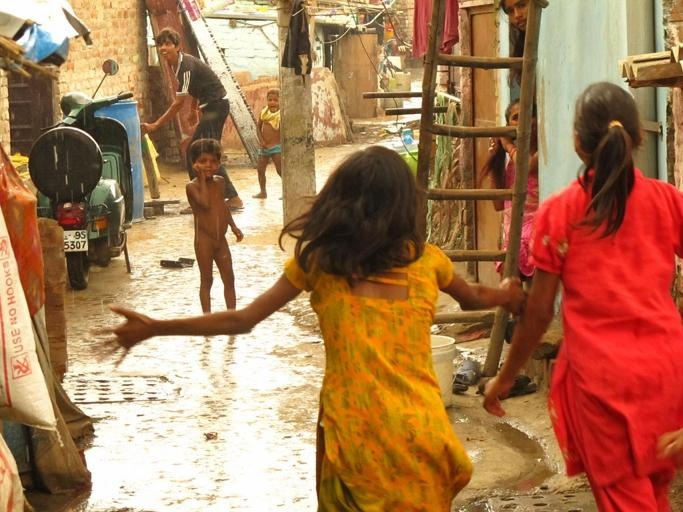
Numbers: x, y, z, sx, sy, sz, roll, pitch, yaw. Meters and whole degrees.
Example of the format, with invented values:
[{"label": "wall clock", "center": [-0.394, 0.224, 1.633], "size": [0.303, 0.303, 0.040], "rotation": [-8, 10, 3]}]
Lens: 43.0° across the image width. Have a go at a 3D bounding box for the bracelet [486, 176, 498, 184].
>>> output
[{"label": "bracelet", "center": [1.055, -0.541, 6.079], "size": [0.058, 0.058, 0.015], "rotation": [9, -36, -1]}]
